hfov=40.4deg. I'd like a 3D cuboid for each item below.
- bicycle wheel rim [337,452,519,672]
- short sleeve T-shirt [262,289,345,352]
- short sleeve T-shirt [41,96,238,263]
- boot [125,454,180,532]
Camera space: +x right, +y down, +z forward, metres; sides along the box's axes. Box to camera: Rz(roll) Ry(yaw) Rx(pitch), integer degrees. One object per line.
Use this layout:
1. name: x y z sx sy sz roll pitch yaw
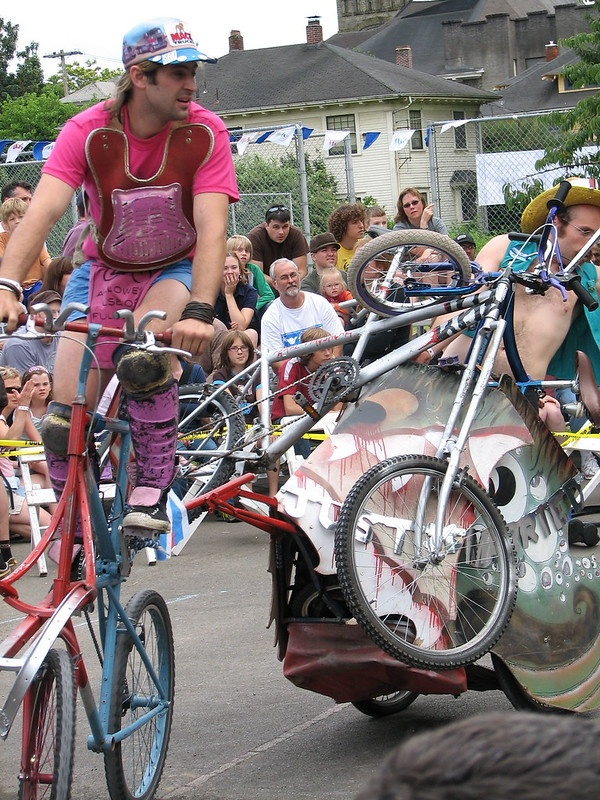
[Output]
1. bicycle wheel rim: 0.504 0.621 3.078 0.976 0.826 0.195 4 -19 -39
2. short sleeve T-shirt: 0.001 -0.716 7.840 0.780 0.486 0.359 -11 1 15
3. short sleeve T-shirt: -0.616 -0.817 3.066 0.825 0.534 0.140 5 13 17
4. boot: -0.524 0.337 2.890 0.136 0.248 0.283 11 0 1
